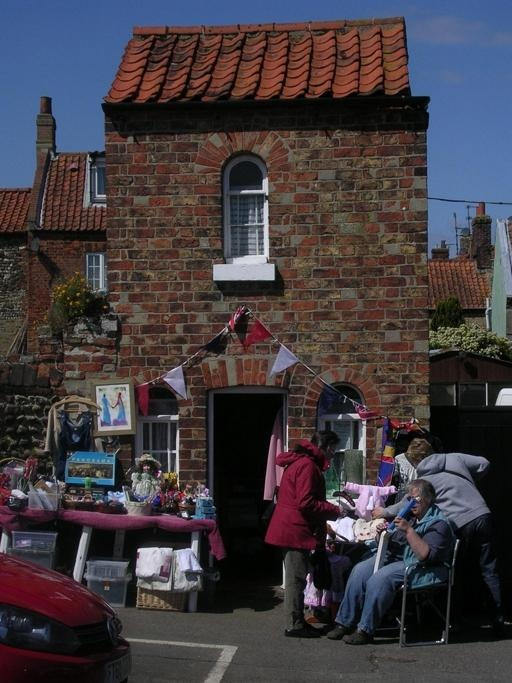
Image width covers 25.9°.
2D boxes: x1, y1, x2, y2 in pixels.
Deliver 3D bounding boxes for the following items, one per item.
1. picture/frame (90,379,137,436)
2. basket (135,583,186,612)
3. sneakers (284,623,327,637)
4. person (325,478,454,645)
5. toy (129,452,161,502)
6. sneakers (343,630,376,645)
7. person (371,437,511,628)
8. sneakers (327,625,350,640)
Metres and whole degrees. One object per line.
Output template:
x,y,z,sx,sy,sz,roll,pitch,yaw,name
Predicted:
-1.599,0.749,12.572,0.594,0.791,0.054,-3,-5,-2,picture/frame
-0.931,2.560,11.041,0.492,0.229,0.088,-2,-5,7,basket
0.431,2.543,9.914,0.280,0.112,0.146,-1,-2,4,sneakers
1.210,1.926,9.855,1.068,1.402,0.676,-2,-5,9,person
-1.189,1.521,12.286,0.397,0.597,0.220,1,24,-1,toy
0.882,2.564,9.611,0.244,0.110,0.107,2,4,-1,sneakers
1.522,1.976,10.599,1.353,2.069,0.948,5,-44,-2,person
0.720,2.557,9.786,0.249,0.111,0.087,5,-9,-42,sneakers
